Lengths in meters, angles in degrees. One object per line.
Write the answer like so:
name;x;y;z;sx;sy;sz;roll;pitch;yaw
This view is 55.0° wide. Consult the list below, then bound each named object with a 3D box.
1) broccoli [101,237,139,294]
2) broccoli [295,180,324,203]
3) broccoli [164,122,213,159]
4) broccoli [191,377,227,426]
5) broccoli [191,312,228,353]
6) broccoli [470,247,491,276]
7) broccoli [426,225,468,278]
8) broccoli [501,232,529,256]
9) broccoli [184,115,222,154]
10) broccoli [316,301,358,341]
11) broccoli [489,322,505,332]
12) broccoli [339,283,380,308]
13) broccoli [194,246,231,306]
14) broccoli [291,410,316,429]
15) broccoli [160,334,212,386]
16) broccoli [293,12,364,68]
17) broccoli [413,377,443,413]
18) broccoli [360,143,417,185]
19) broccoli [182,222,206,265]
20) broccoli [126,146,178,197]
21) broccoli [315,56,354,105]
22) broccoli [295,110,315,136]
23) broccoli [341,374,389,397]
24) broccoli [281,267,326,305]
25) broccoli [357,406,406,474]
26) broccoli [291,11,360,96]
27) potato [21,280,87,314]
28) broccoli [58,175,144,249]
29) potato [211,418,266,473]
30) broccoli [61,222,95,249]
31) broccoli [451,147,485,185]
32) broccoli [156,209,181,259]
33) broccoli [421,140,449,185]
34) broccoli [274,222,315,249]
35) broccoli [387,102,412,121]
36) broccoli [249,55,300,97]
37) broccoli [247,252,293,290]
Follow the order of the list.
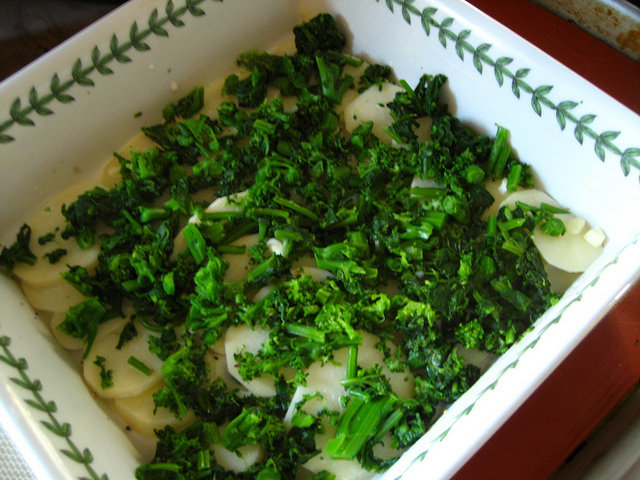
broccoli;-1.079;0.147;3.386;0.184;0.076;0.275;-29;84;10
broccoli;-0.061;-0.277;3.497;0.118;0.067;0.148;-13;59;-14
broccoli;-0.798;-0.613;3.666;0.276;0.173;0.072;37;102;28
broccoli;-0.595;0.868;3.289;0.172;0.194;0.101;-26;83;2
broccoli;-0.614;0.454;3.341;0.195;0.196;0.097;-45;37;5
broccoli;0.850;0.116;3.307;0.061;0.044;0.174;36;77;31
broccoli;0.691;0.060;3.342;0.169;0.070;0.276;25;73;14
broccoli;1.051;0.016;3.331;0.122;0.053;0.121;15;66;24
broccoli;-0.720;-0.603;3.707;0.212;0.075;0.204;52;44;-5
broccoli;0.085;0.415;3.200;0.181;0.111;0.187;-41;63;-5
broccoli;0.923;0.458;3.209;0.047;0.014;0.053;-41;46;30
broccoli;0.199;0.292;3.286;0.199;0.070;0.133;-6;59;14
broccoli;-0.557;0.275;3.324;0.091;0.205;0.376;-7;83;-5
broccoli;-0.090;0.928;3.157;0.120;0.079;0.089;15;65;24
broccoli;-0.693;0.620;3.356;0.317;0.290;0.224;7;81;8
broccoli;0.012;-1.326;3.917;0.403;0.278;0.535;-26;19;-3
broccoli;0.541;0.802;3.139;0.124;0.037;0.157;-42;79;4
broccoli;0.372;-0.440;3.472;0.205;0.098;0.247;0;65;-14
broccoli;-0.691;0.017;3.391;0.096;0.056;0.223;-12;102;19
broccoli;-0.986;-0.404;3.564;0.219;0.140;0.279;32;43;-7
broccoli;0.065;-0.957;3.699;0.085;0.239;0.275;-9;70;44
broccoli;-0.097;-0.698;3.664;0.100;0.143;0.039;-23;17;-19
broccoli;0.253;0.738;3.205;0.160;0.121;0.106;8;69;13
broccoli;-0.094;0.270;3.270;0.158;0.071;0.181;-14;71;-25
broccoli;0.299;1.024;3.176;0.222;0.074;0.352;30;81;-19
broccoli;0.063;-1.169;3.886;0.370;0.241;0.549;-16;55;-32
potato;-1.509;0.312;3.429;0.352;0.145;0.172;0;60;17
broccoli;-1.251;-0.127;3.437;0.440;0.143;0.378;-21;92;-7
potato;-0.433;1.128;3.305;0.227;0.068;0.277;-21;88;0
broccoli;-1.368;-0.020;3.481;0.161;0.053;0.138;8;101;-8
broccoli;0.815;-0.409;3.433;0.186;0.061;0.186;44;105;6
broccoli;-0.895;-0.038;3.496;0.056;0.150;0.261;-2;60;22
broccoli;0.640;-0.444;3.411;0.087;0.193;0.223;-12;61;54
broccoli;-0.140;-0.030;3.385;0.203;0.116;0.102;5;61;20
broccoli;0.459;-0.772;3.638;0.100;0.031;0.119;-20;100;16
broccoli;-0.270;-1.013;3.777;0.248;0.072;0.263;-36;100;-19
broccoli;-0.279;0.179;3.355;0.218;0.171;0.095;-53;32;15
